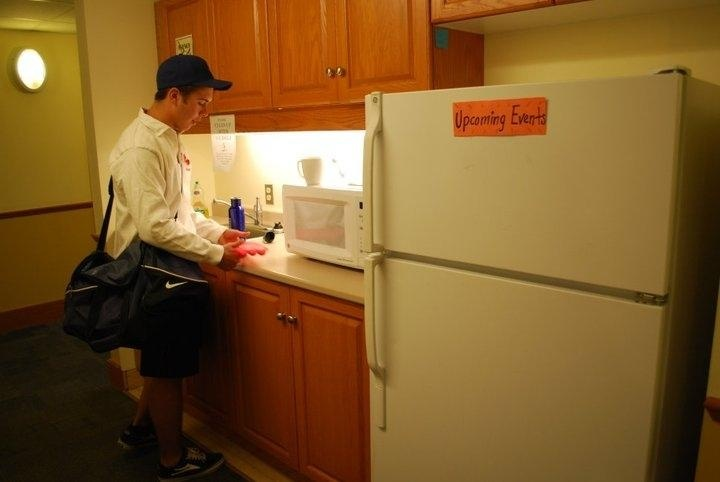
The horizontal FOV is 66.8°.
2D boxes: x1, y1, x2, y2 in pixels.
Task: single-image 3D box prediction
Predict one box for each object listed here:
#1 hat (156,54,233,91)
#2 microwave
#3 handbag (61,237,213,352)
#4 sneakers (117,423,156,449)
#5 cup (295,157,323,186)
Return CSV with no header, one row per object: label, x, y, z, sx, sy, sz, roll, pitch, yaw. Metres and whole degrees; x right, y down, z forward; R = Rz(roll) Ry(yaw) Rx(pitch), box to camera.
hat,-0.866,-0.876,2.859,0.397,0.199,0.260,-4,7,-2
microwave,-0.191,-0.087,2.776,0.370,0.453,0.661,-10,14,-43
handbag,-1.137,0.254,2.806,0.687,0.542,0.493,9,7,7
sneakers,-1.298,1.140,3.209,0.234,0.108,0.125,8,35,-29
cup,-0.265,-0.370,2.906,0.122,0.145,0.171,1,11,-4
